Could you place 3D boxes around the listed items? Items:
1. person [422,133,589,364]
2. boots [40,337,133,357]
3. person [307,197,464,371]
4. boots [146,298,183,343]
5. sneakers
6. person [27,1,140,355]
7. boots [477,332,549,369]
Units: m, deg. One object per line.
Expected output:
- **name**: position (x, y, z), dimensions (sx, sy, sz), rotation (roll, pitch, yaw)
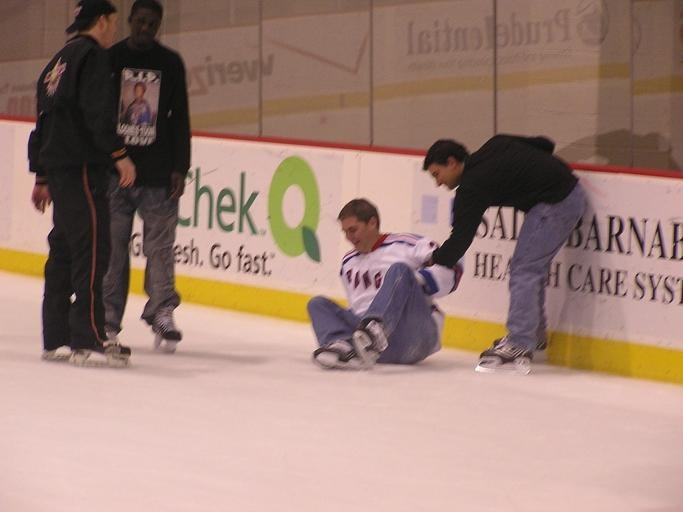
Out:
- **person**: position (1.122, -0.051, 5.556), dimensions (0.905, 1.594, 0.950), rotation (2, -7, -31)
- **boots**: position (-1.570, 0.553, 5.118), dimensions (0.480, 0.196, 0.147), rotation (2, -2, -7)
- **person**: position (0.230, 0.186, 5.213), dimensions (0.725, 1.051, 0.732), rotation (7, 9, 35)
- **boots**: position (-1.242, 0.528, 5.743), dimensions (0.203, 0.281, 0.362), rotation (12, 39, -26)
- **sneakers**: position (0.042, 0.539, 5.002), dimensions (0.388, 0.180, 0.285), rotation (-6, 2, -17)
- **person**: position (-1.580, -0.429, 5.057), dimensions (0.470, 2.206, 0.667), rotation (-5, 10, -42)
- **boots**: position (1.075, 0.604, 5.317), dimensions (0.428, 0.190, 0.174), rotation (2, 0, -9)
